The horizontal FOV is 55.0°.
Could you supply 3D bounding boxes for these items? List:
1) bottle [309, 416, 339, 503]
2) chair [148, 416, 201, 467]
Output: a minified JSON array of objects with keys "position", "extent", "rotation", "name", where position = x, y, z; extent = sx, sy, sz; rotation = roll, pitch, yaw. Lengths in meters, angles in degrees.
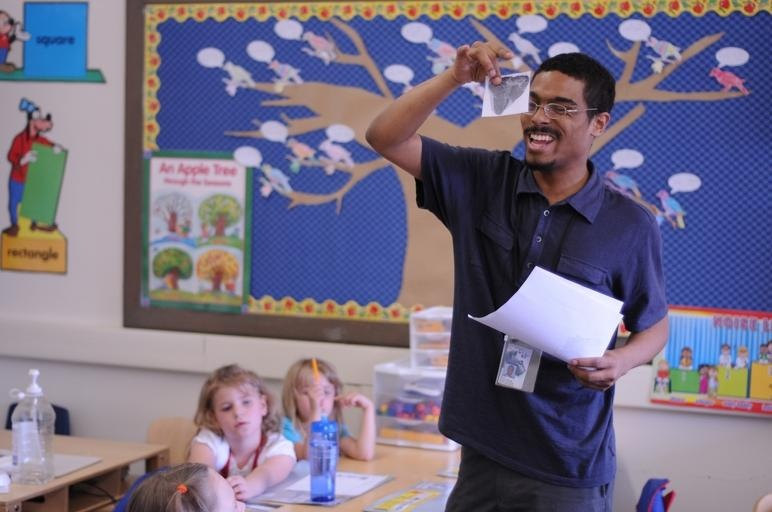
[{"position":[-0.254,0.814,2.995],"extent":[0.111,0.330,0.131],"rotation":[2,-5,-6],"name":"bottle"},{"position":[-1.048,0.881,3.682],"extent":[0.241,0.322,0.263],"rotation":[0,-2,-8],"name":"chair"}]
